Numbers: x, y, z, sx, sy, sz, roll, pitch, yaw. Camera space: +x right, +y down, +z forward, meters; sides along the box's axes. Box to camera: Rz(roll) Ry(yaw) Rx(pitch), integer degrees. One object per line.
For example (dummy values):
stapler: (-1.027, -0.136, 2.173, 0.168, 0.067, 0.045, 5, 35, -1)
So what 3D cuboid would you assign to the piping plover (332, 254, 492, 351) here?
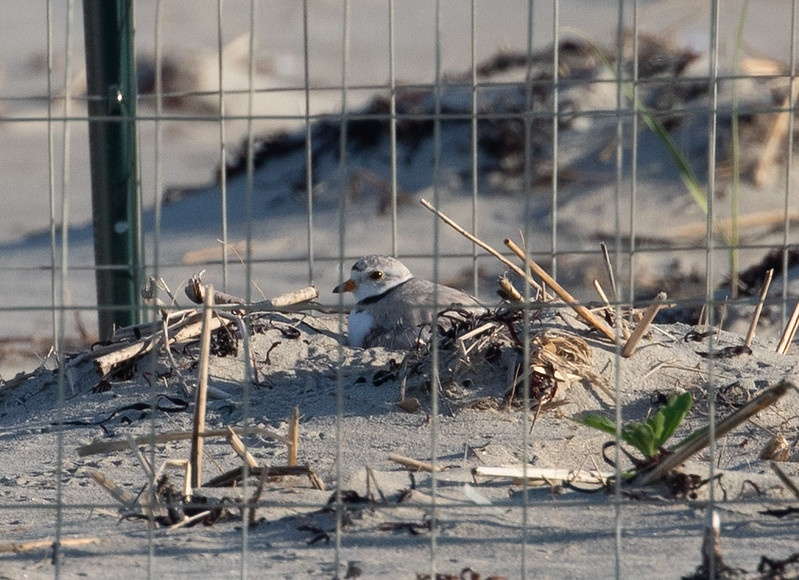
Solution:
piping plover: (-0.015, 0.084, 15.338, 0.998, 0.781, 0.642, 2, 1, 19)
